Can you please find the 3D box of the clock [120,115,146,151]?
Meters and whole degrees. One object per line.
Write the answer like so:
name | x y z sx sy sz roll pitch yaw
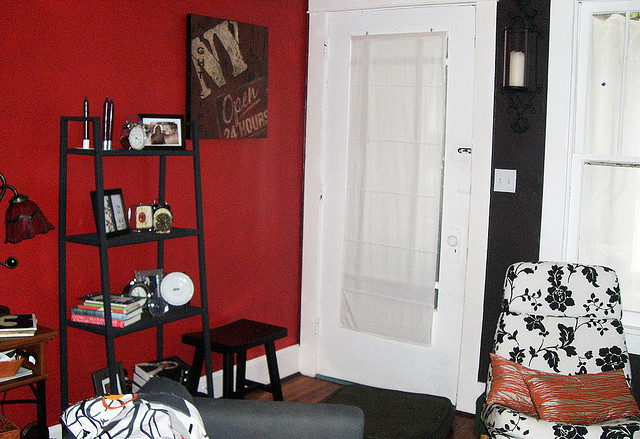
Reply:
clock | -1.120 -0.521 3.283 0.141 0.206 0.307 -3 10 -13

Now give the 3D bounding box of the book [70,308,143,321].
book | -1.242 0.539 3.127 0.147 0.027 0.151 5 5 30

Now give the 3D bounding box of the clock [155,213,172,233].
clock | -0.968 0.015 3.385 0.063 0.109 0.115 3 10 23

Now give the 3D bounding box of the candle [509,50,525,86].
candle | 1.333 -1.023 3.701 0.090 0.233 0.044 3 9 24

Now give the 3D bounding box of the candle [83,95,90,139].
candle | -1.330 -0.574 3.101 0.045 0.231 0.211 -5 10 -23

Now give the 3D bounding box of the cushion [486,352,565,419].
cushion | 1.163 0.926 3.101 0.290 0.317 0.092 13 -35 -6

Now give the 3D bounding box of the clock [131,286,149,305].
clock | -1.102 0.457 3.312 0.088 0.096 0.021 16 -3 -9

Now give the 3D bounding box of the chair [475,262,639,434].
chair | 1.375 0.724 3.138 0.817 0.807 0.757 2 10 18
